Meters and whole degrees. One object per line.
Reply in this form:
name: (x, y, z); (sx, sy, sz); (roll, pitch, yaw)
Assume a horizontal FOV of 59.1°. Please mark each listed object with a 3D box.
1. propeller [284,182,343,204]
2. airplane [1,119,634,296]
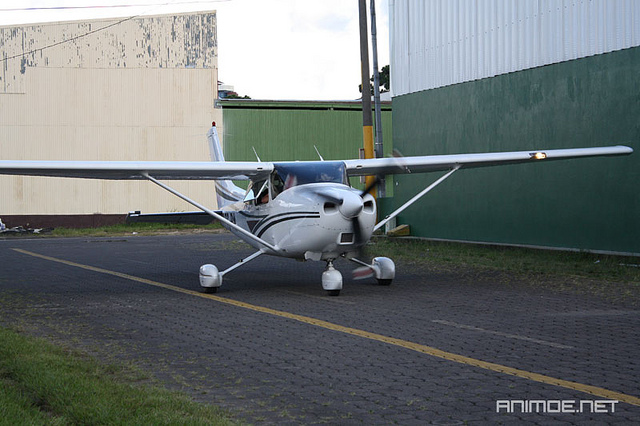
propeller: (-0.107, -0.381, 11.153); (0.124, 0.172, 1.378); (-39, 35, -26)
airplane: (1.451, -0.493, 16.090); (9.591, 3.977, 15.494); (2, 5, 28)
